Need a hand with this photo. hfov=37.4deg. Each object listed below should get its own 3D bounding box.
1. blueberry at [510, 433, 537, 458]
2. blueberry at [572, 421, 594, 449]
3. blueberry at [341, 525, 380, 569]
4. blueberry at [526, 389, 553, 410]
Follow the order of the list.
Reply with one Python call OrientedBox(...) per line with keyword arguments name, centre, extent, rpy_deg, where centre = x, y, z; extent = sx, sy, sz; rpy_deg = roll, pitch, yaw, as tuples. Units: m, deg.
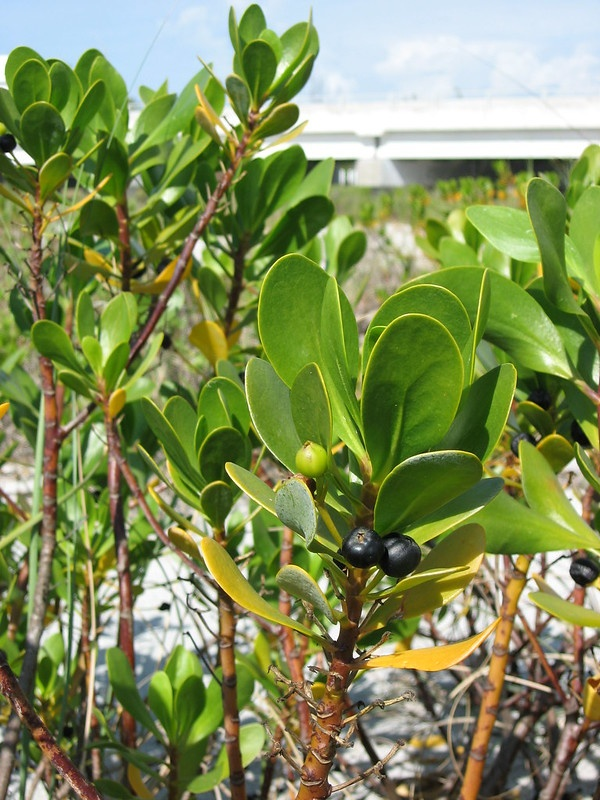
OrientedBox(name="blueberry", centre=(0.302, 0.057, 1.218), extent=(0.047, 0.040, 0.046), rpy_deg=(-5, -1, 12))
OrientedBox(name="blueberry", centre=(0.355, 0.044, 1.112), extent=(0.016, 0.034, 0.012), rpy_deg=(-11, -28, 17))
OrientedBox(name="blueberry", centre=(0.047, 0.120, 0.761), extent=(0.030, 0.032, 0.031), rpy_deg=(28, 10, -11))
OrientedBox(name="blueberry", centre=(0.330, 0.000, 1.226), extent=(0.024, 0.034, 0.033), rpy_deg=(-13, 27, 8))
